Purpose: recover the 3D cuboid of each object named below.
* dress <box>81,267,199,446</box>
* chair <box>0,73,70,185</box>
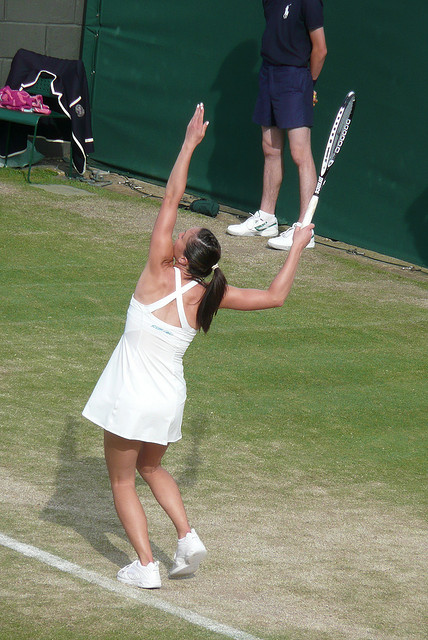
[{"bbox_3d":[-0.225,0.139,2.719,0.373,0.634,0.364,17,19,-2],"label":"dress"},{"bbox_3d":[-2.740,-2.968,11.124,0.940,1.496,1.858,13,18,-14],"label":"chair"}]
